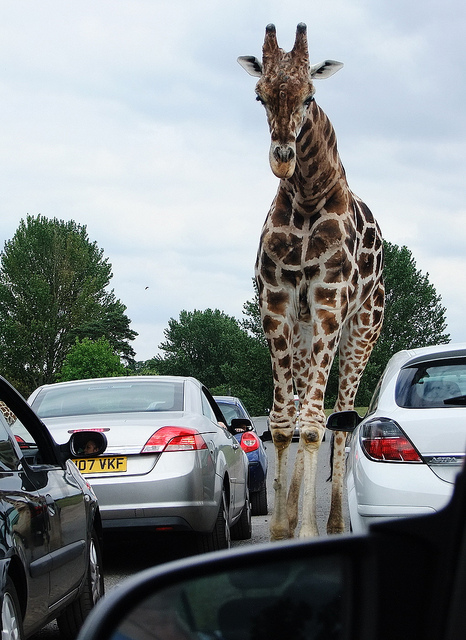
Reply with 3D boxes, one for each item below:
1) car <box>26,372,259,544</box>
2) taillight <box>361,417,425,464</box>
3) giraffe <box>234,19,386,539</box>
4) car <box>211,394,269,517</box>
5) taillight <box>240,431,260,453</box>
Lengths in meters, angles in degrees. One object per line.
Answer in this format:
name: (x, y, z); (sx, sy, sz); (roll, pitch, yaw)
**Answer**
car: (-0.493, 1.081, 5.983); (0.932, 0.869, 2.361); (-1, -7, 9)
taillight: (0.893, 0.705, 3.956); (0.141, 0.153, 0.432); (2, 4, -22)
giraffe: (0.817, -0.177, 7.259); (1.361, 5.434, 2.767); (3, 3, 11)
car: (-0.027, 1.854, 9.246); (0.940, 0.972, 1.888); (0, -2, 8)
taillight: (0.218, 1.675, 9.494); (0.214, 0.186, 0.362); (0, -20, 5)
